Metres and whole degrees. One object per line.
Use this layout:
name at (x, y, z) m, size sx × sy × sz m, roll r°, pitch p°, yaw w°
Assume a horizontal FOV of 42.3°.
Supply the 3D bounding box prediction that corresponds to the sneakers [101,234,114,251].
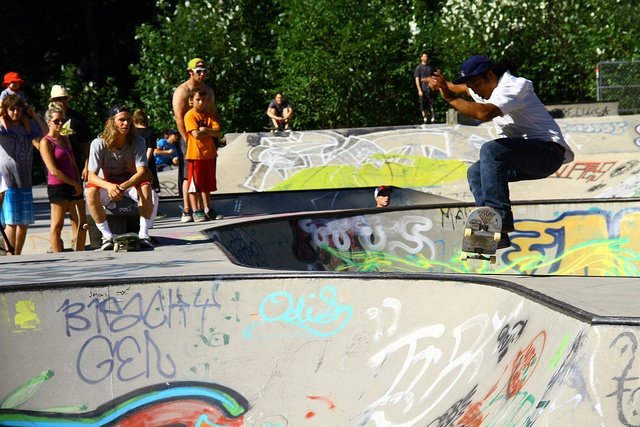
sneakers at (-3.296, 0.463, 12.869) m, size 0.215 × 0.219 × 0.147 m, roll -2°, pitch 2°, yaw -3°

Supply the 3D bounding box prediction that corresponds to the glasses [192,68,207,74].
glasses at (-2.063, -2.447, 14.184) m, size 0.268 × 0.119 × 0.176 m, roll -3°, pitch 3°, yaw -20°

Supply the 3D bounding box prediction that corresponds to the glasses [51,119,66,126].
glasses at (-4.115, -1.453, 13.060) m, size 0.175 × 0.080 × 0.073 m, roll -3°, pitch 3°, yaw -36°

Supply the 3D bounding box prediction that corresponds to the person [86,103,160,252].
person at (-3.129, -0.576, 12.938) m, size 1.036 × 2.248 × 0.407 m, roll -2°, pitch 3°, yaw -17°

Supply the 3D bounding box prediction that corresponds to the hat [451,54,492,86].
hat at (2.240, -2.141, 12.302) m, size 0.539 × 0.291 × 0.353 m, roll -25°, pitch 12°, yaw -3°

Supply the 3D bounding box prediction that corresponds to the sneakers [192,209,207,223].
sneakers at (-2.115, 0.044, 14.602) m, size 0.301 × 0.144 × 0.132 m, roll 7°, pitch 13°, yaw 38°

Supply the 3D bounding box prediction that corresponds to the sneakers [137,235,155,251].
sneakers at (-2.729, 0.459, 12.912) m, size 0.166 × 0.202 × 0.460 m, roll 2°, pitch -8°, yaw -12°

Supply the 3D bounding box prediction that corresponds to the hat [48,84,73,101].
hat at (-4.326, -2.016, 13.818) m, size 0.311 × 0.287 × 0.440 m, roll -2°, pitch 2°, yaw -14°

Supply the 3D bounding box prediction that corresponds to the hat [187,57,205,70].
hat at (-2.168, -2.596, 14.314) m, size 0.203 × 0.225 × 0.423 m, roll -2°, pitch 3°, yaw -20°

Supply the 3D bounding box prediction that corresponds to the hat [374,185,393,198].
hat at (1.185, -0.412, 15.757) m, size 0.285 × 0.227 × 0.478 m, roll 1°, pitch -11°, yaw -1°

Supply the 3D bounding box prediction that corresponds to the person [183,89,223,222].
person at (-2.038, -0.995, 14.420) m, size 0.599 × 2.288 × 0.649 m, roll -2°, pitch 3°, yaw -12°

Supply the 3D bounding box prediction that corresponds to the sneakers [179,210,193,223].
sneakers at (-2.385, 0.056, 14.780) m, size 0.196 × 0.237 × 0.512 m, roll 0°, pitch -3°, yaw -3°

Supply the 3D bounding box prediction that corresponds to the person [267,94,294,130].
person at (-1.067, -2.720, 21.973) m, size 0.668 × 1.039 × 1.152 m, roll -5°, pitch 8°, yaw -9°

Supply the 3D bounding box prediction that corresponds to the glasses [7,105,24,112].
glasses at (-4.804, -1.657, 13.088) m, size 0.210 × 0.086 × 0.095 m, roll -3°, pitch 3°, yaw -30°
